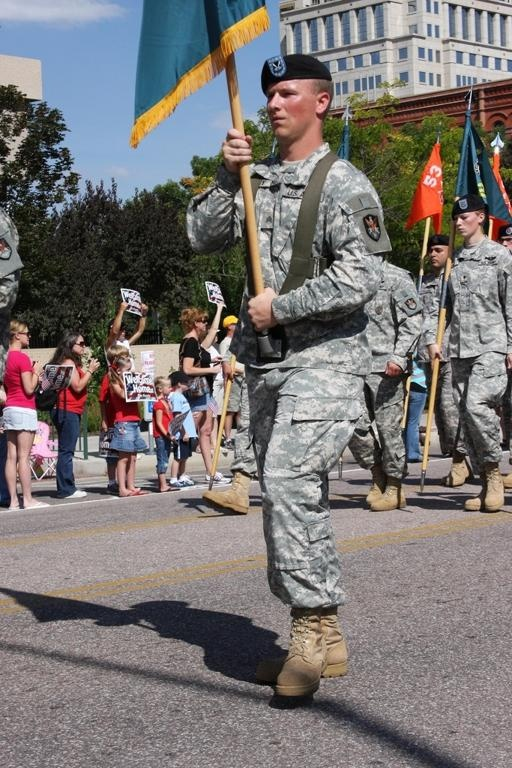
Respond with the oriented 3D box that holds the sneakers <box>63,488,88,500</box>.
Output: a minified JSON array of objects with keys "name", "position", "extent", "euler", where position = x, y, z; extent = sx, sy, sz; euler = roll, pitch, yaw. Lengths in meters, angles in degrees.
[{"name":"sneakers","position":[-1.979,1.220,9.735],"extent":[0.248,0.089,0.081],"euler":[-3,3,-2]}]

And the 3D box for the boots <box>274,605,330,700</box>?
[{"name":"boots","position":[0.148,0.892,3.027],"extent":[0.140,0.244,0.377],"euler":[-11,-3,26]}]

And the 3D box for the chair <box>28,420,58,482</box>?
[{"name":"chair","position":[-2.816,0.896,11.857],"extent":[0.453,0.555,0.455],"euler":[-2,14,-25]}]

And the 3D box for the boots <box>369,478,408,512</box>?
[{"name":"boots","position":[1.183,0.998,7.778],"extent":[0.454,0.262,0.157],"euler":[-1,1,-34]}]

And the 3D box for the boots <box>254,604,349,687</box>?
[{"name":"boots","position":[0.163,0.897,3.059],"extent":[0.161,0.276,0.431],"euler":[-7,-4,31]}]

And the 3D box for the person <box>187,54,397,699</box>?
[{"name":"person","position":[0.096,-0.052,3.253],"extent":[0.738,2.176,0.669],"euler":[2,-1,-5]}]

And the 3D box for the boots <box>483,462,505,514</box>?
[{"name":"boots","position":[2.013,0.883,7.539],"extent":[0.169,0.404,0.281],"euler":[-2,4,11]}]
